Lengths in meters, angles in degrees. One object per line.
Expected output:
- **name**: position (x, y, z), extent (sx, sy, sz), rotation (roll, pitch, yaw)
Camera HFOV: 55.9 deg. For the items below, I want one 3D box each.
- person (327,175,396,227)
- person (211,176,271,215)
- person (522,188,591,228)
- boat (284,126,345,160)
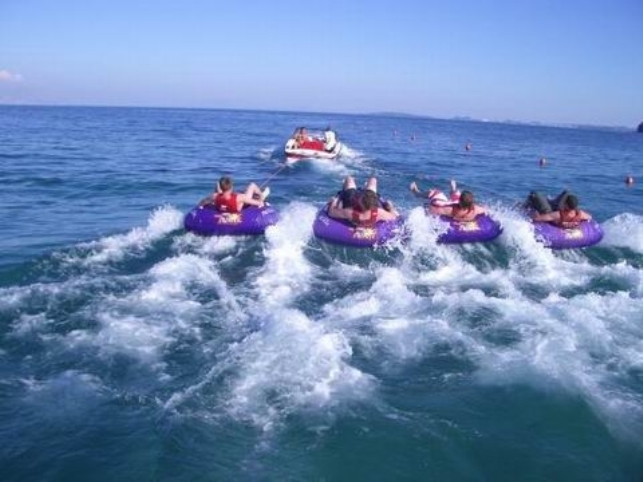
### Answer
- **person**: position (1.006, -1.006, 15.269), extent (1.294, 0.645, 1.802), rotation (4, 28, 8)
- **person**: position (-1.809, -1.134, 14.115), extent (1.108, 0.642, 0.738), rotation (-26, 9, -30)
- **person**: position (5.245, -0.682, 13.947), extent (0.850, 0.586, 1.176), rotation (3, 26, -1)
- **boat**: position (-0.299, -4.516, 27.787), extent (2.194, 1.165, 3.393), rotation (9, 18, 14)
